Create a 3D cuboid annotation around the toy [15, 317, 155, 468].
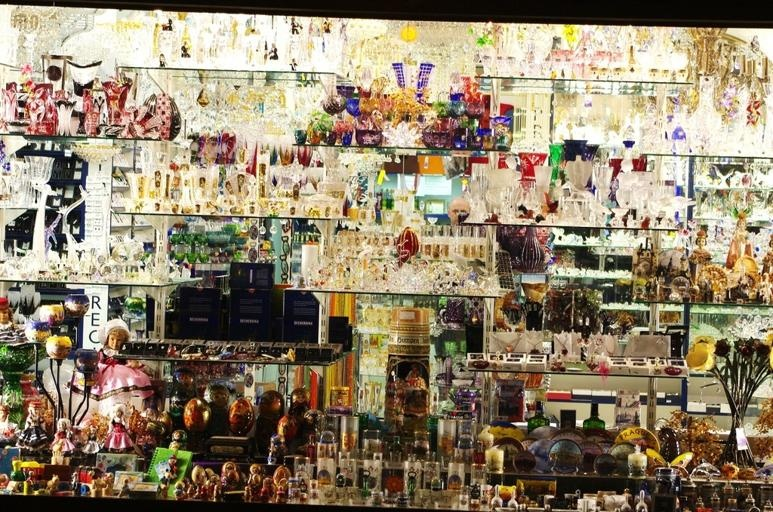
[{"bbox_3d":[-1.914,0.853,11.571,0.862,0.723,1.046,-3,96,-17],"label":"toy"}]
